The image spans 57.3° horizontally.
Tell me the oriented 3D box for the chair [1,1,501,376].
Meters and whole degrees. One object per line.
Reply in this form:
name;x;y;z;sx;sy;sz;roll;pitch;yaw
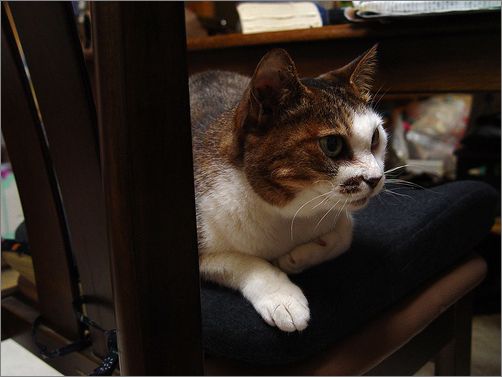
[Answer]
chair;-0.069;-0.135;1.072;0.707;1.146;0.640;-19;37;-25

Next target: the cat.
cat;-0.035;-0.101;1.113;0.283;0.528;0.859;-10;20;-26

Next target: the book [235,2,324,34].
book;0.116;-0.653;1.739;0.237;0.064;0.252;-4;39;-6
